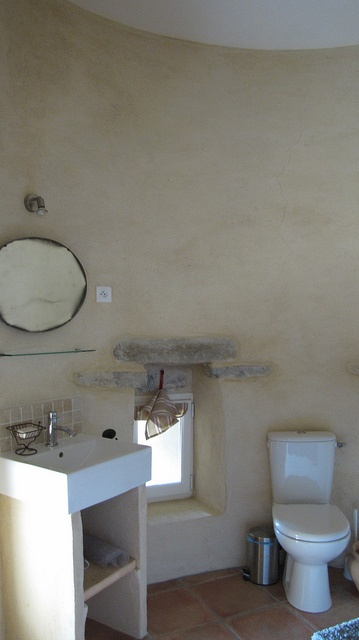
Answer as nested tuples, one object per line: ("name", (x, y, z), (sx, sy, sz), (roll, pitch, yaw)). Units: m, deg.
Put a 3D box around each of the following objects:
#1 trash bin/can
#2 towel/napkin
("trash bin/can", (0.380, 1.107, 2.699), (0.170, 0.225, 0.137), (-3, -6, 26))
("towel/napkin", (-0.110, 0.441, 2.812), (0.148, 0.240, 0.214), (-9, 14, -13))
